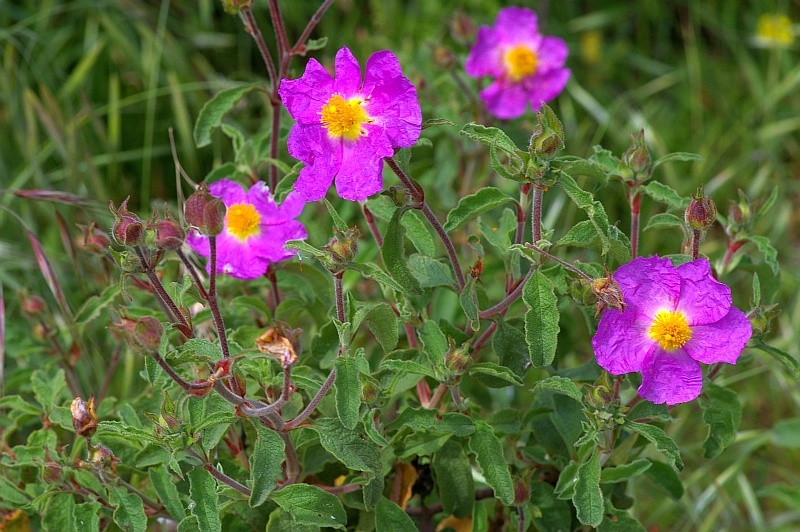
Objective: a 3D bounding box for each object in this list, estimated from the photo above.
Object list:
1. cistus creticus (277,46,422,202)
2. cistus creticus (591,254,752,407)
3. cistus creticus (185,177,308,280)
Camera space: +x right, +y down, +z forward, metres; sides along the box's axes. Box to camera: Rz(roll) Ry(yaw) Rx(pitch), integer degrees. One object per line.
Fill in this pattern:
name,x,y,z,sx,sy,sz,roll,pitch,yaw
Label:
cistus creticus,-0.132,-0.372,2.030,0.373,0.270,0.339,2,51,0
cistus creticus,0.739,0.150,2.172,0.353,0.451,0.136,16,51,11
cistus creticus,-0.439,-0.120,2.387,0.288,0.195,0.305,-6,52,-7
